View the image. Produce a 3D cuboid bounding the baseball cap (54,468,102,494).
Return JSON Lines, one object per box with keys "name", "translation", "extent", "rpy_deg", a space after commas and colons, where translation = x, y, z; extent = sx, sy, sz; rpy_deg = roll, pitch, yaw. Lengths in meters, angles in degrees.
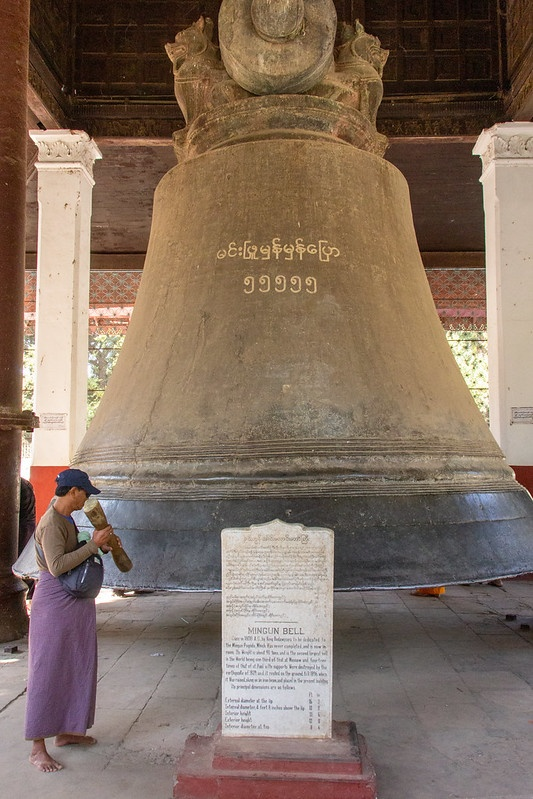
{"name": "baseball cap", "translation": [-0.443, 0.189, 1.691], "extent": [0.098, 0.054, 0.063], "rpy_deg": [1, -4, -12]}
